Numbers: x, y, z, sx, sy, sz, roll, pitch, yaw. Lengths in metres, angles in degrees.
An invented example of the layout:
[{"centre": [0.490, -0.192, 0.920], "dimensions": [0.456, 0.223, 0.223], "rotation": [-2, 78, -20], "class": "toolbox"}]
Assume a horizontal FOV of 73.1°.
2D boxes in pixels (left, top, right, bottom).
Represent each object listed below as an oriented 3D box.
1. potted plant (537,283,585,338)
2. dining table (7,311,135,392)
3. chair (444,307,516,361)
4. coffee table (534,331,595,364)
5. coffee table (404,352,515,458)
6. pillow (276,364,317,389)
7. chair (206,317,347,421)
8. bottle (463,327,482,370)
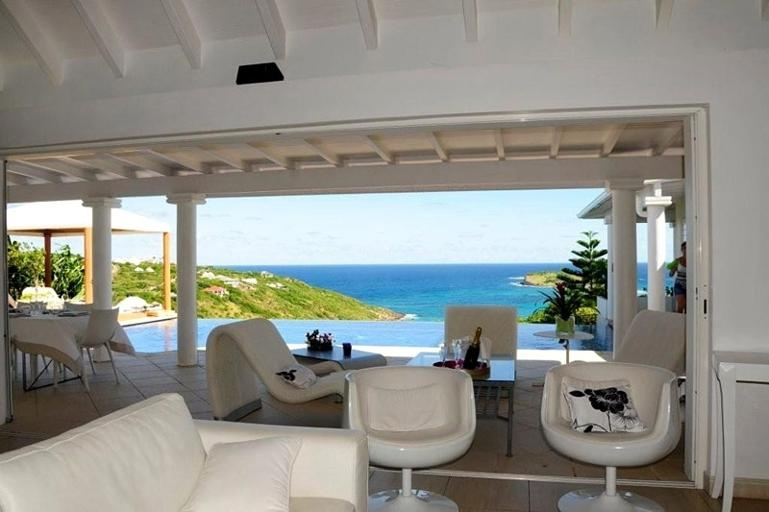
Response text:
[{"centre": [2.109, 0.619, 6.028], "dimensions": [0.416, 0.556, 0.531], "rotation": [-4, 2, 15], "class": "potted plant"}, {"centre": [-3.925, 1.041, 6.551], "dimensions": [1.237, 0.616, 1.096], "rotation": [-3, -6, 21], "class": "dining table"}, {"centre": [1.170, 1.101, 6.308], "dimensions": [1.085, 0.884, 0.580], "rotation": [1, -15, 3], "class": "chair"}, {"centre": [2.137, 1.116, 6.064], "dimensions": [0.556, 0.378, 0.558], "rotation": [1, 3, 24], "class": "coffee table"}, {"centre": [0.951, 1.272, 4.892], "dimensions": [0.897, 0.459, 0.960], "rotation": [0, 4, 10], "class": "coffee table"}, {"centre": [-0.832, 1.141, 5.011], "dimensions": [0.356, 0.133, 0.398], "rotation": [-1, 0, 8], "class": "pillow"}, {"centre": [-0.984, 1.101, 5.170], "dimensions": [1.632, 0.974, 0.896], "rotation": [0, 3, 19], "class": "chair"}, {"centre": [0.783, 0.806, 4.687], "dimensions": [0.154, 0.347, 0.411], "rotation": [-1, 1, 11], "class": "bottle"}]
